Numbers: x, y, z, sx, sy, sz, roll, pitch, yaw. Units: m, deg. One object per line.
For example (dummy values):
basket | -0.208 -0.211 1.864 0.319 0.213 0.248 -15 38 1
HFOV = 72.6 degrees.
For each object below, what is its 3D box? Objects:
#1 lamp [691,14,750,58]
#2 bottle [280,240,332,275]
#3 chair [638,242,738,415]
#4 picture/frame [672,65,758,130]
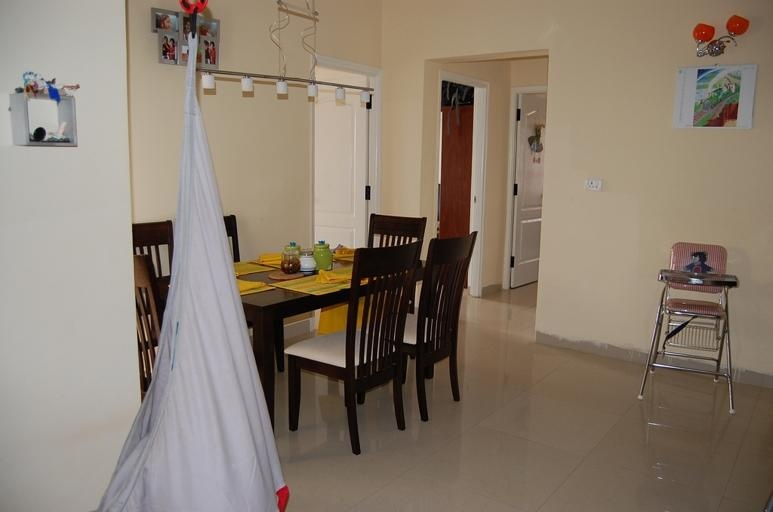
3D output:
lamp | 2.666 -1.773 4.210 0.348 0.250 0.162 7 34 47
bottle | -0.584 0.025 3.795 0.226 0.169 0.300 6 7 31
chair | 2.409 0.497 4.140 0.710 1.155 0.715 8 10 42
picture/frame | 2.707 -1.304 4.280 0.497 0.465 0.040 6 11 30
